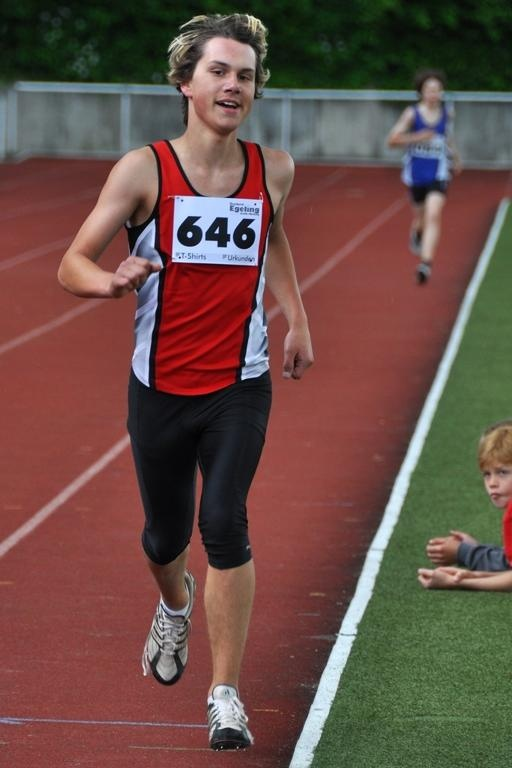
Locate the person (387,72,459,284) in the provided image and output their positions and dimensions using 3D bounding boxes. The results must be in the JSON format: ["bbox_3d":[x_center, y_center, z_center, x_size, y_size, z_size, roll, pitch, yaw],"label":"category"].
[{"bbox_3d":[1.594,-1.881,7.216,0.593,1.905,0.963,-4,12,15],"label":"person"}]

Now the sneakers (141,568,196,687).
[{"bbox_3d":[-0.248,0.654,2.166,0.127,0.326,0.145,8,-9,-11],"label":"sneakers"}]

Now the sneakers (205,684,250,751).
[{"bbox_3d":[-0.060,0.650,1.532,0.076,0.093,0.214,12,-9,-11],"label":"sneakers"}]
